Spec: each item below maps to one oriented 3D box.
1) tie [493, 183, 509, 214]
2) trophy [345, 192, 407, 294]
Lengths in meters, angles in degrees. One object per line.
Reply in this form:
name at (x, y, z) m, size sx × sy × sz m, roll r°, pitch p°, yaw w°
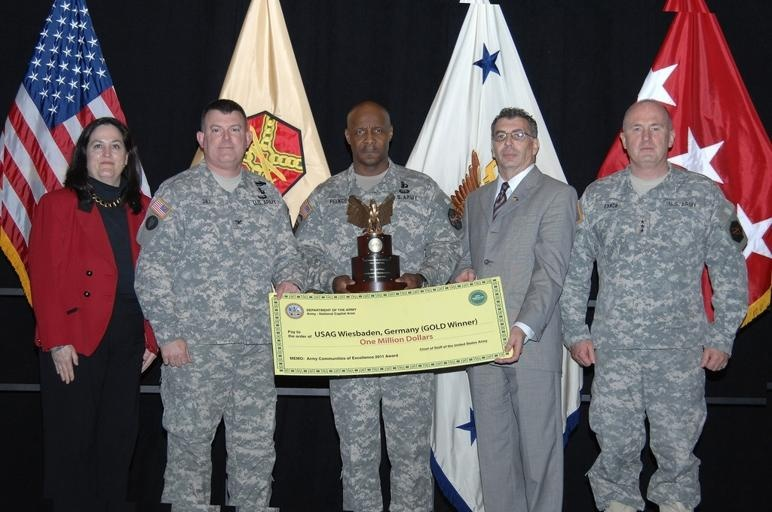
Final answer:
tie at (0.741, -0.377, 4.551) m, size 0.056 × 0.277 × 0.038 m, roll 11°, pitch -26°, yaw 28°
trophy at (-0.053, -0.091, 4.417) m, size 0.338 × 0.613 × 0.395 m, roll 1°, pitch -2°, yaw -4°
